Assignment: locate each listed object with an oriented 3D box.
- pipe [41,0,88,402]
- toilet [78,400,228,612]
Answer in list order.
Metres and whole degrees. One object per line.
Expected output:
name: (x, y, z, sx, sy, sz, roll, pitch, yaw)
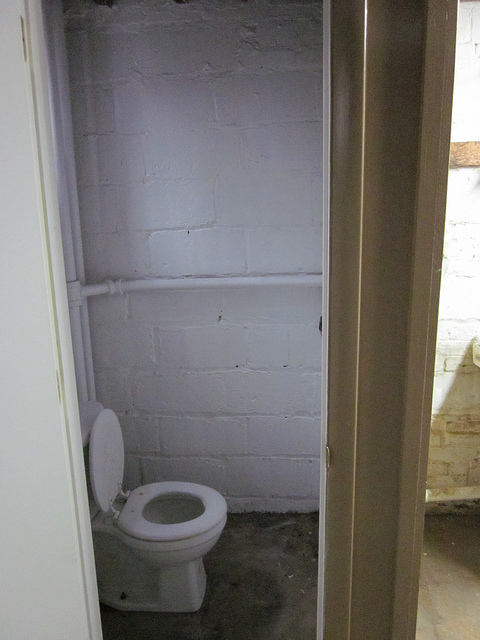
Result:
pipe: (-0.571, -0.361, 1.956, 0.064, 1.333, 0.213, -7, 10, -16)
toilet: (-0.276, 0.567, 1.872, 0.432, 0.627, 0.319, 0, 14, 7)
